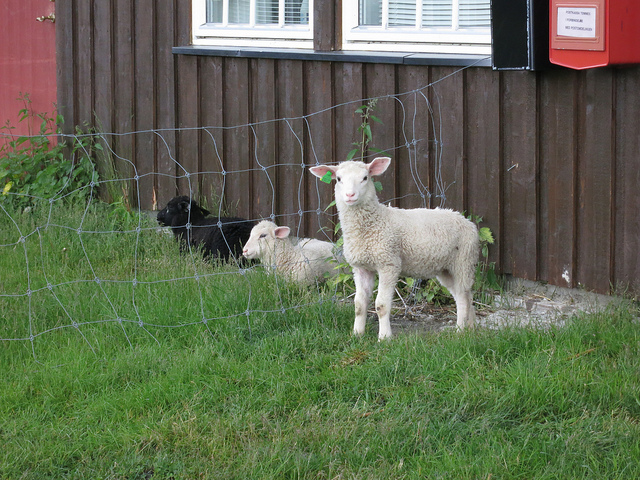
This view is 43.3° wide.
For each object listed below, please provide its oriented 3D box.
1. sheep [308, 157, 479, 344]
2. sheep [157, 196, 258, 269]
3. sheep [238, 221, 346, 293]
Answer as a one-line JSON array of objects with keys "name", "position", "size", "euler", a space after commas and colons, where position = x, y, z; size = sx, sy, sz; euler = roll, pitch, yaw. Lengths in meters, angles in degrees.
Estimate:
[{"name": "sheep", "position": [0.667, 0.079, 6.417], "size": [1.294, 1.488, 0.648], "euler": [-1, 7, -23]}, {"name": "sheep", "position": [-1.137, -0.094, 8.044], "size": [1.000, 0.630, 0.588], "euler": [17, 11, 37]}, {"name": "sheep", "position": [-0.259, 0.100, 7.203], "size": [0.771, 0.784, 0.568], "euler": [2, -5, -3]}]
